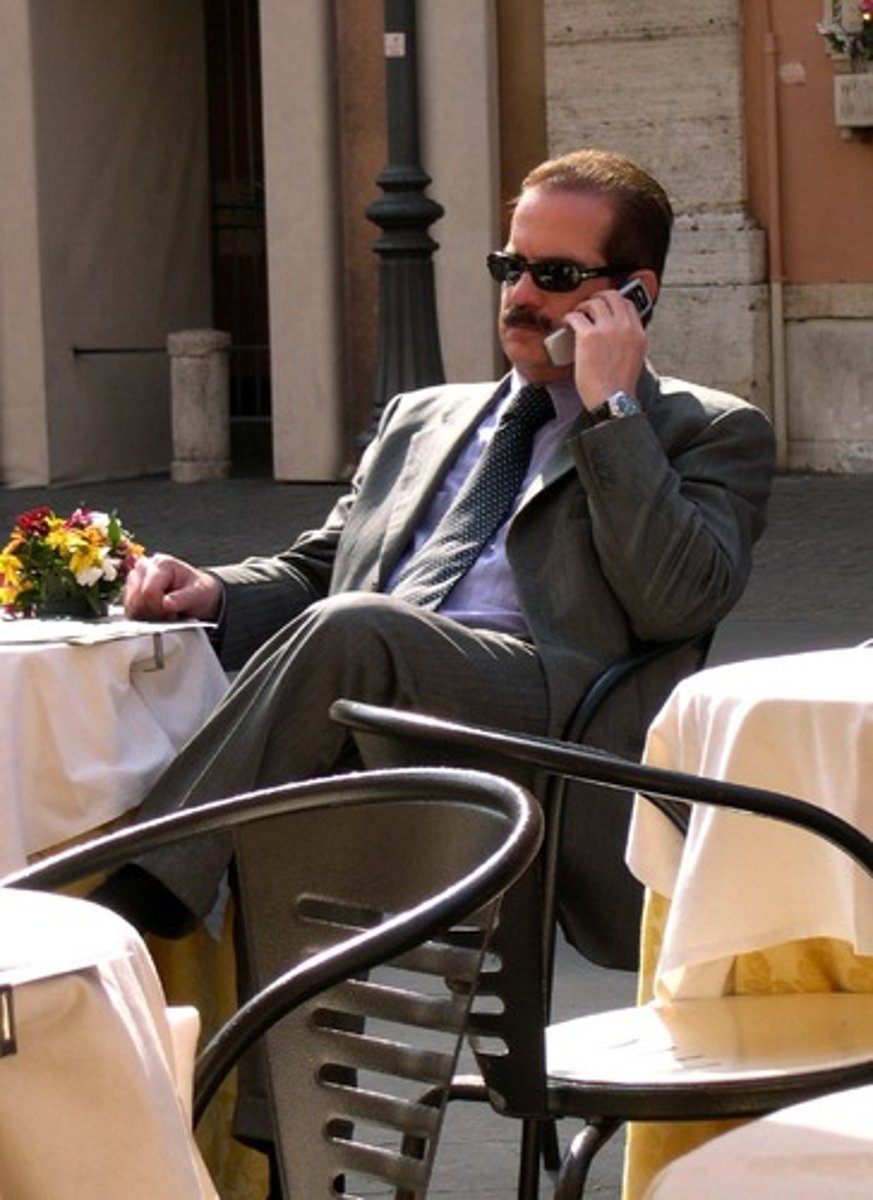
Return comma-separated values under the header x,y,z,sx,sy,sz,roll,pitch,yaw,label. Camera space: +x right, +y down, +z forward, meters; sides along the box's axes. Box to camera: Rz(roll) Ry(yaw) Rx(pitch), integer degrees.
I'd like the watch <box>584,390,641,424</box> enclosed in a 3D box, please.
x,y,z,sx,sy,sz,roll,pitch,yaw,label
0.302,-0.327,2.867,0.080,0.049,0.073,-18,0,-40,watch

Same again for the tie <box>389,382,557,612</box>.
x,y,z,sx,sy,sz,roll,pitch,yaw,label
0.160,-0.268,3.134,0.151,0.719,0.106,33,-35,6,tie

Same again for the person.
x,y,z,sx,sy,sz,roll,pitch,yaw,label
0.077,-0.043,2.902,1.249,1.405,1.246,-2,10,-7,person
